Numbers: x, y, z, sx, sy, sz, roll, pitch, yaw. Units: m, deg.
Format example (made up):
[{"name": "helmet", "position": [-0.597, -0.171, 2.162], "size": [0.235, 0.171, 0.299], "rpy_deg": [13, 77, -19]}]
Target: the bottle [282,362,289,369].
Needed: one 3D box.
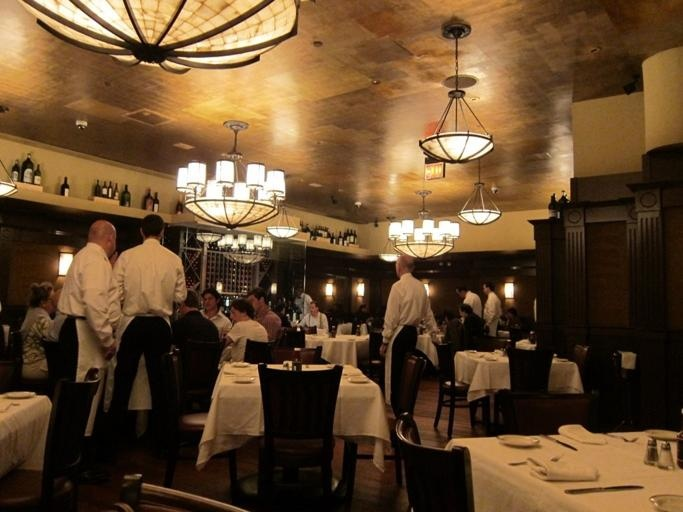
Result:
[{"name": "bottle", "position": [-0.481, 0.977, 5.492], "size": [0.063, 0.069, 0.061], "rpy_deg": [0, 1, -40]}]

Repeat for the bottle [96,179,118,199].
[{"name": "bottle", "position": [-4.116, -1.172, 10.631], "size": [0.105, 0.374, 0.406], "rpy_deg": [-11, -11, 35]}]

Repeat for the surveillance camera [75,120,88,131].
[{"name": "surveillance camera", "position": [-3.766, -1.892, 8.798], "size": [0.118, 0.046, 0.118], "rpy_deg": [-8, -12, 26]}]

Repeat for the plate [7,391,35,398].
[{"name": "plate", "position": [-2.165, 0.924, 4.095], "size": [0.184, 0.032, 0.087], "rpy_deg": [5, -6, -27]}]

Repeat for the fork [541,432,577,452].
[{"name": "fork", "position": [1.282, 1.066, 3.582], "size": [0.049, 0.033, 0.296], "rpy_deg": [6, 2, -30]}]

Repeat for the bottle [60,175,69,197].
[{"name": "bottle", "position": [-4.574, -1.167, 10.073], "size": [0.148, 0.342, 0.213], "rpy_deg": [5, -6, -22]}]

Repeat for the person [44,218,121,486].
[{"name": "person", "position": [-2.213, 0.771, 5.315], "size": [0.530, 2.250, 0.670], "rpy_deg": [5, -6, -25]}]

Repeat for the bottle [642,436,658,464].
[{"name": "bottle", "position": [1.692, 1.054, 3.313], "size": [0.065, 0.132, 0.108], "rpy_deg": [0, -6, 26]}]

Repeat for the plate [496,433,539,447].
[{"name": "plate", "position": [1.039, 1.066, 3.539], "size": [0.245, 0.048, 0.188], "rpy_deg": [2, -6, 8]}]

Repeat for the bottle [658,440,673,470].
[{"name": "bottle", "position": [1.758, 1.059, 3.287], "size": [0.077, 0.140, 0.133], "rpy_deg": [0, -6, 27]}]
